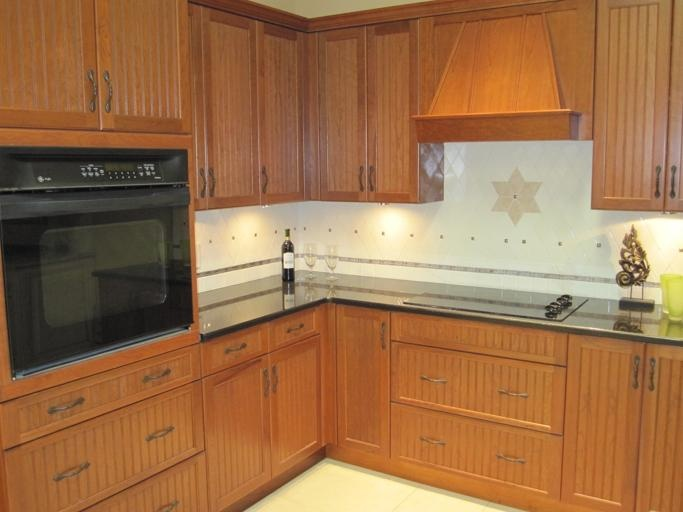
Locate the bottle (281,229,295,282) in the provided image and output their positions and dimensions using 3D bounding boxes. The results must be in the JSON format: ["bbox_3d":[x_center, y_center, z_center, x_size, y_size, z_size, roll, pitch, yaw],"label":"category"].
[{"bbox_3d":[-0.395,0.001,4.067,0.091,0.379,0.248,-3,4,-8],"label":"bottle"}]

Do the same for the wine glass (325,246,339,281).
[{"bbox_3d":[-0.069,0.024,3.847,0.081,0.185,0.203,-3,4,-2],"label":"wine glass"}]

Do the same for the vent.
[{"bbox_3d":[0.834,-0.734,3.182,0.881,0.213,0.131,0,5,31],"label":"vent"}]
